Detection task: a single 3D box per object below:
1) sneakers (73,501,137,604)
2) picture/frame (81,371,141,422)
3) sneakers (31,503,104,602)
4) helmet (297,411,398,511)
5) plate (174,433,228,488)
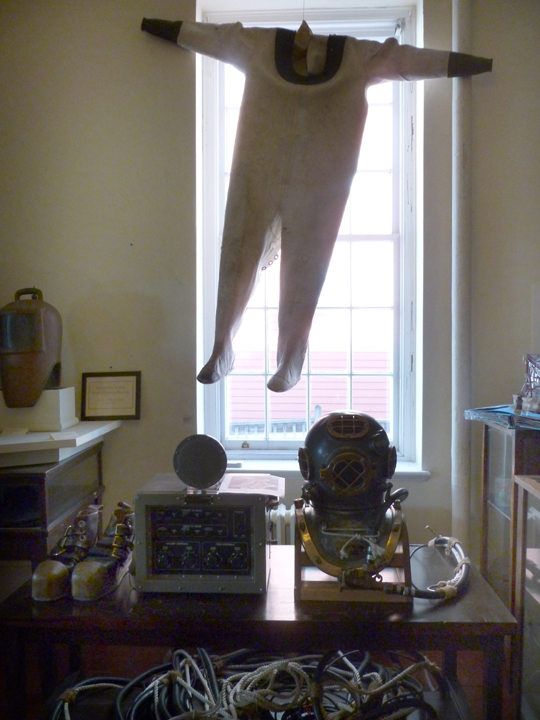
[{"bbox_3d":[-0.304,0.356,1.407,0.059,0.105,0.233,-8,10,13],"label":"sneakers"},{"bbox_3d":[-0.479,0.117,2.266,0.104,0.132,0.012,0,-7,2],"label":"picture/frame"},{"bbox_3d":[-0.372,0.360,1.419,0.059,0.111,0.236,-2,5,11],"label":"sneakers"},{"bbox_3d":[0.138,0.170,1.335,0.144,0.193,0.192,3,7,21],"label":"helmet"},{"bbox_3d":[-0.124,0.183,1.320,0.090,0.097,0.046,-3,4,-10],"label":"plate"}]
